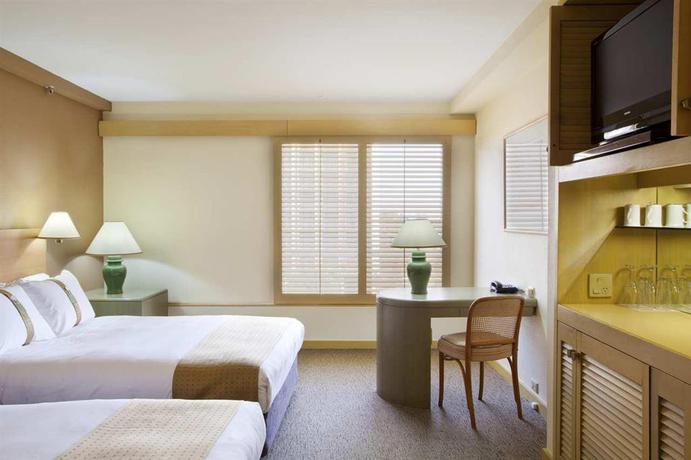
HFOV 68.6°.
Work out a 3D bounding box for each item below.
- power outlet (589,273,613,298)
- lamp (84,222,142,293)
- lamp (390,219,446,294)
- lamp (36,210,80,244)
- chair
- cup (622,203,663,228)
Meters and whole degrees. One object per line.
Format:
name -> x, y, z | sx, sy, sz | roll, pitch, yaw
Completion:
power outlet -> 1.894, 0.398, 3.723 | 0.176, 0.179, 0.018 | 0, -2, 3
lamp -> -2.712, 0.319, 5.956 | 0.638, 0.833, 0.656 | 2, 4, 23
lamp -> 0.771, 0.277, 5.219 | 0.599, 0.720, 0.621 | -3, -3, 30
lamp -> -3.035, -0.027, 5.366 | 0.449, 0.341, 0.471 | -1, -3, 11
chair -> 1.271, 1.144, 4.750 | 0.631, 1.116, 0.765 | 0, 0, -19
cup -> 2.132, -0.110, 3.622 | 0.233, 0.158, 0.131 | -1, 1, -17
